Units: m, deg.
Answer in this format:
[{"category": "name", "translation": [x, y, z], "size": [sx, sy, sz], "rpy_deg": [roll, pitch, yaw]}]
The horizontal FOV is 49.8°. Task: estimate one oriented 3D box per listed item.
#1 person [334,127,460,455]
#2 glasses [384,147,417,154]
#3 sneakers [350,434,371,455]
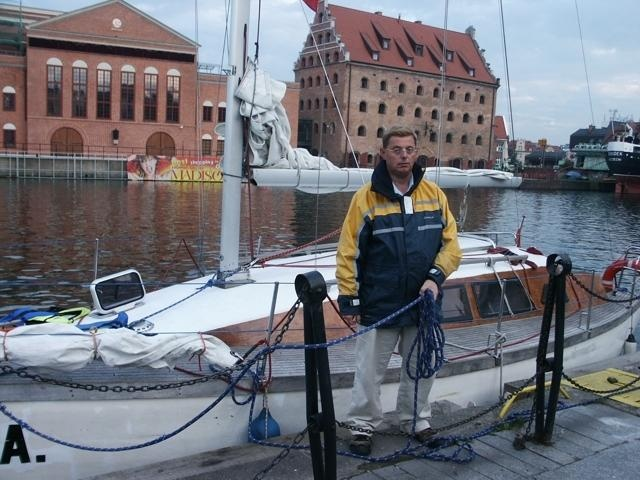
[{"category": "person", "translation": [0.606, 0.393, 5.374], "size": [0.966, 2.498, 0.496], "rpy_deg": [-2, 4, -1]}, {"category": "glasses", "translation": [0.618, -0.680, 5.292], "size": [0.174, 0.049, 0.040], "rpy_deg": [-3, 4, -14]}, {"category": "sneakers", "translation": [0.314, 1.592, 5.402], "size": [0.163, 0.105, 0.153], "rpy_deg": [1, 3, 7]}]
